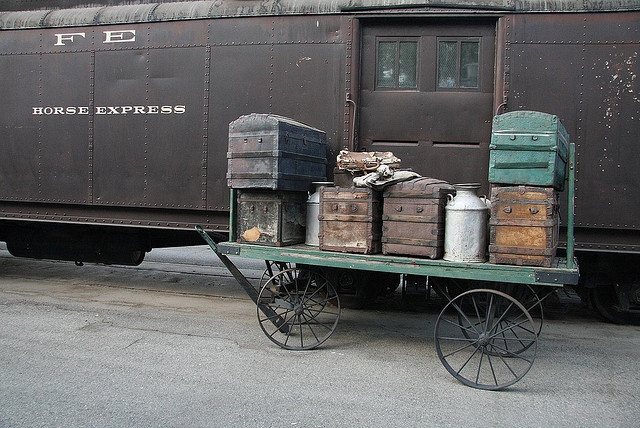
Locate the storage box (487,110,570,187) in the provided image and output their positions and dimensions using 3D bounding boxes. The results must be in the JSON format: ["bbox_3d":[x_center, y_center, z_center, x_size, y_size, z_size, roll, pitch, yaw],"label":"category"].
[{"bbox_3d":[2.700,-0.831,7.350,0.994,0.818,0.985,3,-1,21],"label":"storage box"}]

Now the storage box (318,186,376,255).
[{"bbox_3d":[0.475,0.105,8.027,1.056,1.027,0.841,1,2,28],"label":"storage box"}]

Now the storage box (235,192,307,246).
[{"bbox_3d":[-0.630,0.062,8.440,0.970,0.748,0.929,-3,4,-39],"label":"storage box"}]

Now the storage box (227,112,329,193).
[{"bbox_3d":[-0.611,-0.897,8.616,1.047,0.971,1.452,3,2,36],"label":"storage box"}]

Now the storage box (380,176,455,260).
[{"bbox_3d":[1.524,0.066,7.718,0.896,1.015,1.036,-1,3,-43],"label":"storage box"}]
